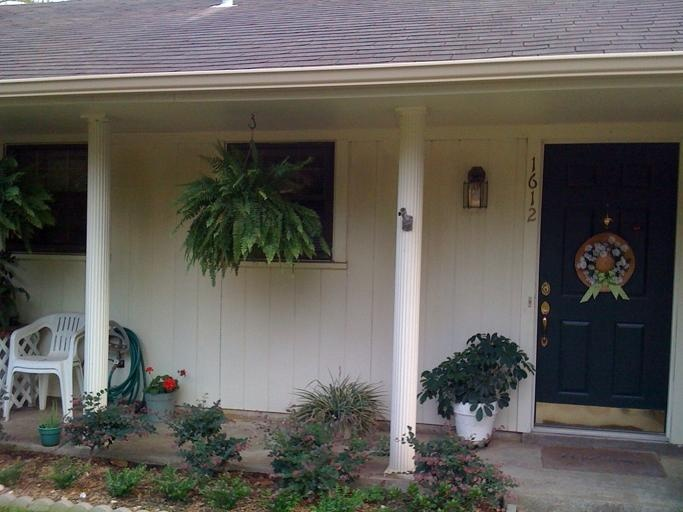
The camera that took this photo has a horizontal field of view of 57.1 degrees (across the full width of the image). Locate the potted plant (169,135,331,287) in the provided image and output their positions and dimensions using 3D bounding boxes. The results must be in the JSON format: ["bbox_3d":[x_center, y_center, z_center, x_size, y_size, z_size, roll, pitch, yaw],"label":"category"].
[{"bbox_3d":[-0.825,-0.298,5.653,1.332,1.121,1.407,-7,31,-11],"label":"potted plant"}]

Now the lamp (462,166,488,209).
[{"bbox_3d":[1.264,-0.645,5.908,0.226,0.386,0.135,1,-1,11],"label":"lamp"}]

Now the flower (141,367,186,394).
[{"bbox_3d":[-1.826,1.275,6.440,0.438,0.249,0.340,1,-1,-1],"label":"flower"}]

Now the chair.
[{"bbox_3d":[-2.971,1.091,6.310,0.944,1.021,0.780,1,-1,7],"label":"chair"}]

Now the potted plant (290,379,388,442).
[{"bbox_3d":[-0.005,1.417,6.023,0.552,0.365,0.600,2,-7,7],"label":"potted plant"}]

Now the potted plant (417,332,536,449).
[{"bbox_3d":[1.216,1.162,5.898,0.954,0.949,1.002,-1,-5,3],"label":"potted plant"}]

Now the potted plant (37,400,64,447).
[{"bbox_3d":[-2.588,1.473,5.583,0.185,0.375,0.286,2,-1,-25],"label":"potted plant"}]
